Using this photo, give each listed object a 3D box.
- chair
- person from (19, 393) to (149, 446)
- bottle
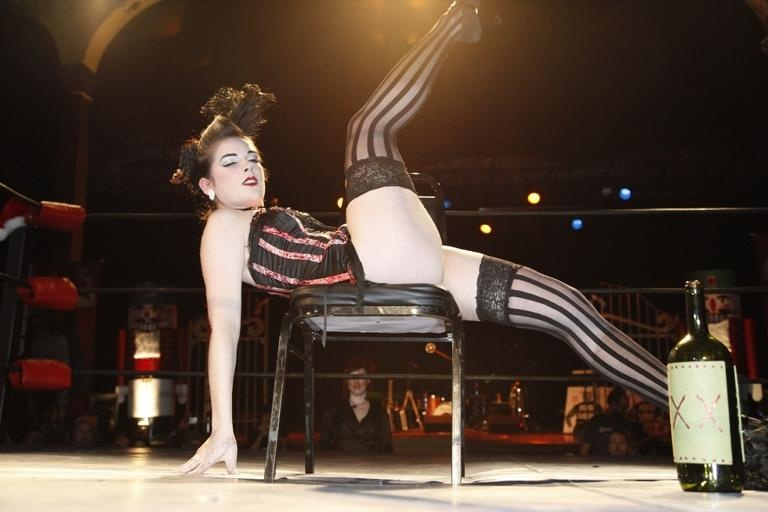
[{"bbox_3d":[-0.099,0.309,3.385,0.979,1.629,0.803,2,-15,-7],"label":"chair"},{"bbox_3d":[-2.984,1.627,6.566,1.154,0.534,1.994,5,-16,-19],"label":"person"},{"bbox_3d":[1.312,0.534,2.658,0.264,0.846,0.214,-6,-16,22],"label":"bottle"}]
